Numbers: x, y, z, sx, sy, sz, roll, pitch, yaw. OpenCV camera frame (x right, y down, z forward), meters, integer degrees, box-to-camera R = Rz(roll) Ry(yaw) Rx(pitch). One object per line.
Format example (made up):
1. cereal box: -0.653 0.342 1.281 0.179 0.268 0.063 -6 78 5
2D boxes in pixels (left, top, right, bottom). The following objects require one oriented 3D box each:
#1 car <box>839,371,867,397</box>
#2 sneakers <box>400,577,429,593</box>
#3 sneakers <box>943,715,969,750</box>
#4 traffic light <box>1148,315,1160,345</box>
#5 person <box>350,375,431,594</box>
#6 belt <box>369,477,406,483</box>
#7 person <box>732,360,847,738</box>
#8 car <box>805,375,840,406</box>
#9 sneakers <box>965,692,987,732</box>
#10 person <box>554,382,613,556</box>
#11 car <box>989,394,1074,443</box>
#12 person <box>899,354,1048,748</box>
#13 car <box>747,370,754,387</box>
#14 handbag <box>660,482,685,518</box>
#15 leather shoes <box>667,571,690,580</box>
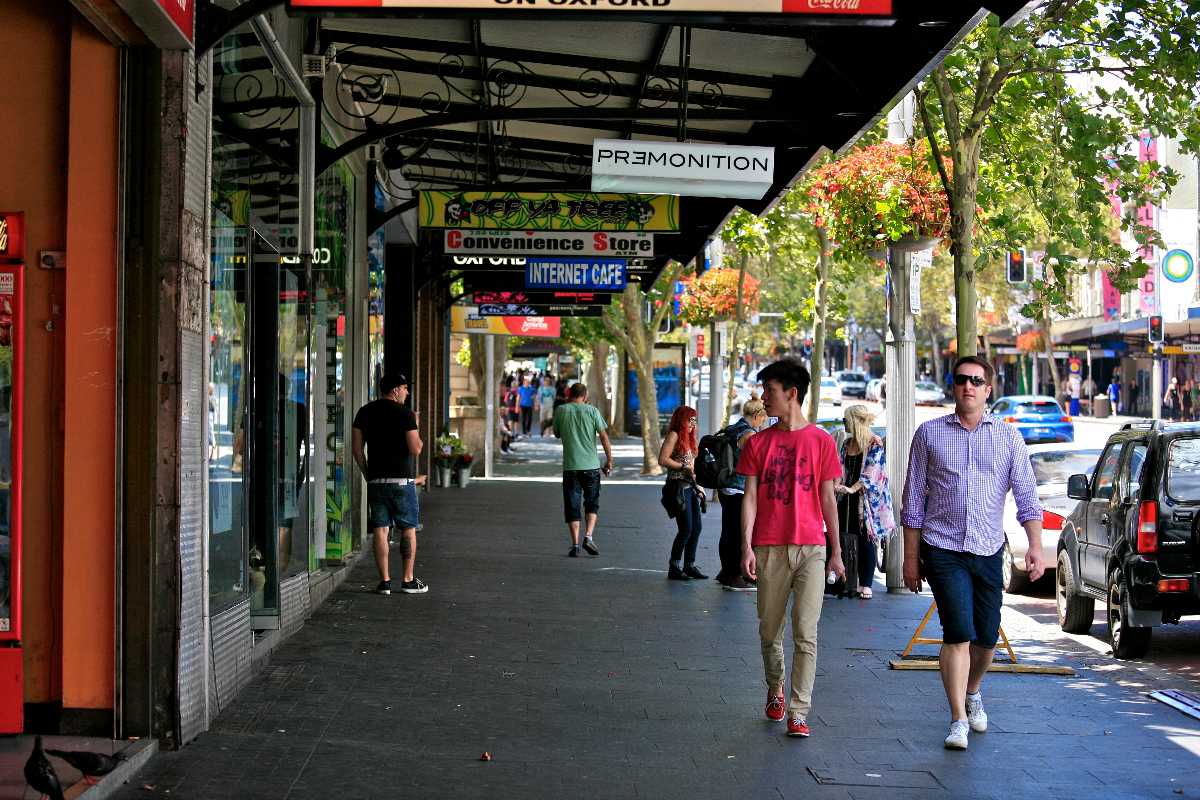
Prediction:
1. car: 16.931 -1.071 77.086 1.381 1.231 2.411 0 -2 3
2. sneakers: -2.026 2.024 12.681 0.313 0.145 0.136 -2 4 -36
3. sneakers: 2.332 2.174 7.560 0.181 0.112 0.153 -2 1 -3
4. traffic light: 16.364 -2.075 34.203 0.478 0.856 0.290 -2 15 -4
5. person: -2.308 0.903 12.687 0.759 2.079 0.994 -2 1 -13
6. belt: -2.253 0.864 12.441 0.407 0.045 0.112 -1 1 16
7. person: 1.322 0.978 8.044 0.710 1.752 0.691 -1 1 11
8. car: 9.593 -0.315 49.140 1.301 1.048 2.941 2 10 10
9. sneakers: 2.600 2.142 7.965 0.112 0.143 0.317 1 0 1
10. person: -0.242 0.931 15.952 0.731 1.852 1.085 -1 1 -1
11. car: 11.764 0.485 31.366 1.407 1.154 3.288 1 4 5
12. person: 2.495 0.984 7.773 0.917 2.557 0.630 -1 1 3
13. car: 9.709 -1.411 75.103 0.593 0.863 2.780 8 4 5
14. handbag: 0.891 1.231 14.228 0.136 0.412 0.277 -3 1 -16
15. leather shoes: 0.930 2.128 14.017 0.199 0.135 0.110 -1 1 1
